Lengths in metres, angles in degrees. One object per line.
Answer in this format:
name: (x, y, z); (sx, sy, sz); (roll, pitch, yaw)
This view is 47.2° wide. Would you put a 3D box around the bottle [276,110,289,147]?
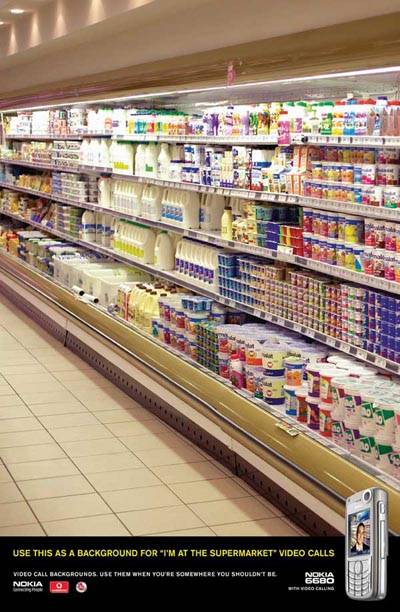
bottle: (0.441, -0.957, 2.482); (0.041, 0.194, 0.152); (-1, 5, -16)
